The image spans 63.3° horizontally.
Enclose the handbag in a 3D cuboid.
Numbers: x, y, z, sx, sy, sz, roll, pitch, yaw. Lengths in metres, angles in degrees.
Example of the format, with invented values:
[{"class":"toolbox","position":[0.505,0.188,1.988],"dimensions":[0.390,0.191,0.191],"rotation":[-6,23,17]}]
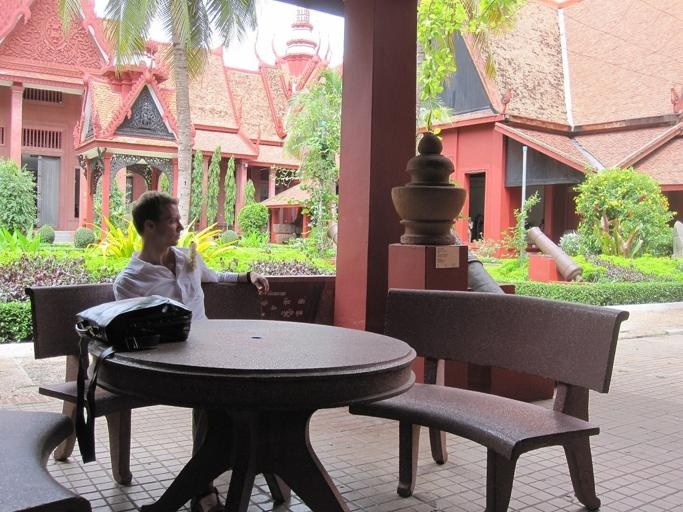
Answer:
[{"class":"handbag","position":[-0.922,0.467,2.429],"dimensions":[0.484,0.554,0.561],"rotation":[-3,2,-31]}]

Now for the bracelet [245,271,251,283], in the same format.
[{"class":"bracelet","position":[-0.615,0.143,3.687],"dimensions":[0.044,0.059,0.060],"rotation":[1,-7,-7]}]
